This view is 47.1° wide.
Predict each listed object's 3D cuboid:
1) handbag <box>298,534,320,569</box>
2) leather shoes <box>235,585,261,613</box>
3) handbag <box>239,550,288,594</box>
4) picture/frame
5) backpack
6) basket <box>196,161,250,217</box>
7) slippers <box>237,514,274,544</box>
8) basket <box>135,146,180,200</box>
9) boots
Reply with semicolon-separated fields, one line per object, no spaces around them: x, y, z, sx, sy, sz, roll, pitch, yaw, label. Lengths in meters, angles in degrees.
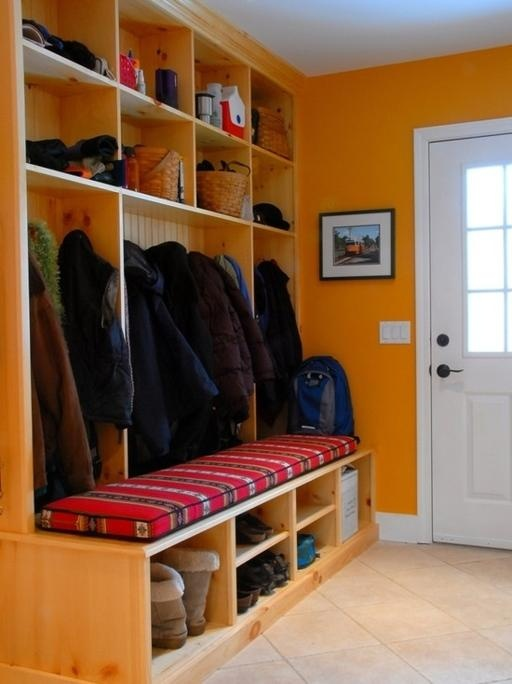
0.228;0.944;2.632;0.080;0.125;0.122;0;-1;-4;handbag
-0.035;0.906;2.063;0.123;0.065;0.164;-2;-16;6;leather shoes
0.034;0.889;2.256;0.119;0.061;0.166;-3;2;-43;handbag
0.605;-0.572;3.430;0.426;0.384;0.030;1;3;29;picture/frame
0.373;0.301;3.447;0.377;0.493;0.278;2;6;28;backpack
-0.175;-0.778;3.008;0.286;0.238;0.313;1;-2;31;basket
-0.022;0.729;2.272;0.104;0.040;0.076;1;1;28;slippers
-0.420;-0.694;2.432;0.195;0.180;0.221;0;7;-15;basket
-0.231;0.751;1.786;0.239;0.245;0.238;-2;-3;17;boots
